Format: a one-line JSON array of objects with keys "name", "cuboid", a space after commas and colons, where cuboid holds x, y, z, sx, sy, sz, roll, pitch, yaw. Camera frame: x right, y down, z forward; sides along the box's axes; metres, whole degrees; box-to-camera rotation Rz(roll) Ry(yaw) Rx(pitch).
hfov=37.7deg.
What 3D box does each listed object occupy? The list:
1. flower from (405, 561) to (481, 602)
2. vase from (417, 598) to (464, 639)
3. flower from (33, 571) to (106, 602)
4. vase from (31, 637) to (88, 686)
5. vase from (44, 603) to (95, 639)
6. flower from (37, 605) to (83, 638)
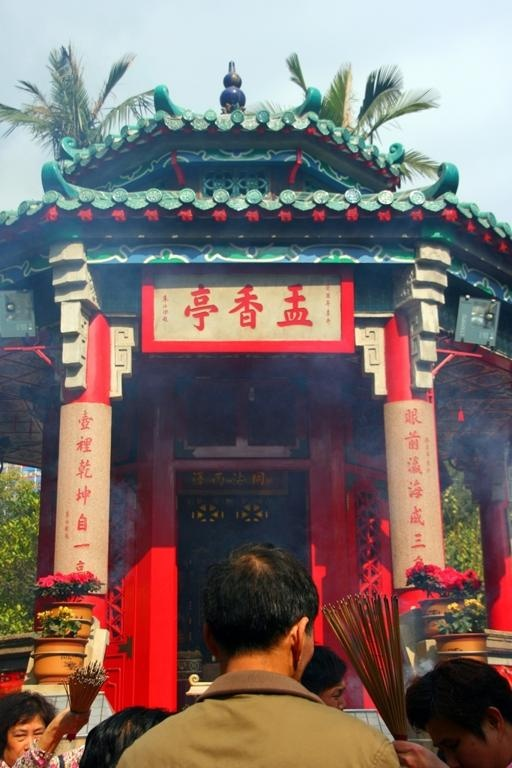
[{"name": "flower", "cuboid": [1.581, 1.651, 6.330, 0.592, 0.312, 0.331, -2, -9, 10]}, {"name": "vase", "cuboid": [1.513, 1.927, 6.169, 0.343, 0.220, 0.325, 5, -21, -14]}, {"name": "flower", "cuboid": [-1.531, 1.640, 6.122, 0.351, 0.176, 0.335, 4, -11, -27]}, {"name": "vase", "cuboid": [-1.490, 2.091, 5.686, 0.382, 0.358, 0.319, 2, -9, -14]}, {"name": "vase", "cuboid": [-1.470, 1.864, 5.935, 0.349, 0.236, 0.331, 3, -16, -8]}, {"name": "flower", "cuboid": [-1.525, 1.833, 5.804, 0.321, 0.233, 0.253, 2, -9, -12]}]
